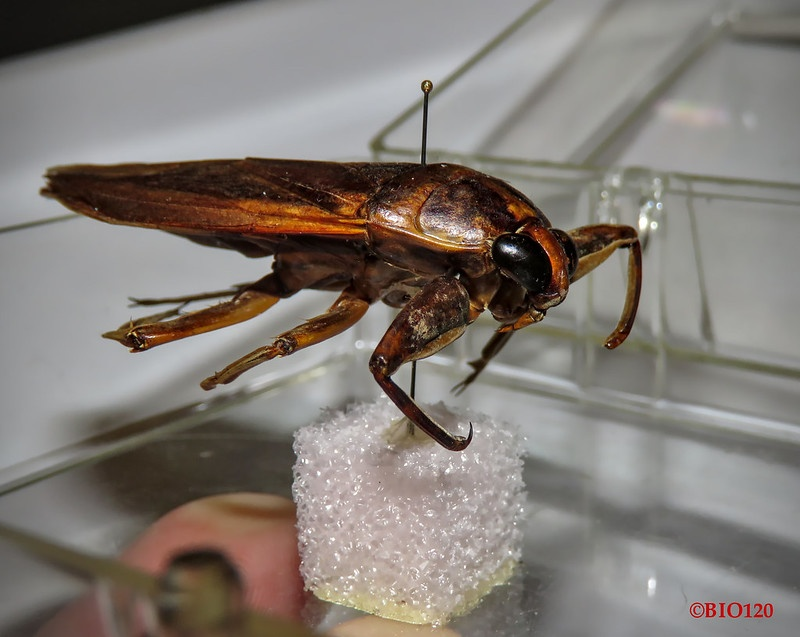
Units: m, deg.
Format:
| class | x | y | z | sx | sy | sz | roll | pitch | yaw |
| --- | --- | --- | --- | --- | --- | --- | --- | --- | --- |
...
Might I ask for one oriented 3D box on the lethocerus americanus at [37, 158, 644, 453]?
| class | x | y | z | sx | sy | sz | roll | pitch | yaw |
| --- | --- | --- | --- | --- | --- | --- | --- | --- | --- |
| lethocerus americanus | -0.149 | -0.053 | 0.867 | 0.633 | 0.141 | 0.345 | 4 | 1 | -7 |
